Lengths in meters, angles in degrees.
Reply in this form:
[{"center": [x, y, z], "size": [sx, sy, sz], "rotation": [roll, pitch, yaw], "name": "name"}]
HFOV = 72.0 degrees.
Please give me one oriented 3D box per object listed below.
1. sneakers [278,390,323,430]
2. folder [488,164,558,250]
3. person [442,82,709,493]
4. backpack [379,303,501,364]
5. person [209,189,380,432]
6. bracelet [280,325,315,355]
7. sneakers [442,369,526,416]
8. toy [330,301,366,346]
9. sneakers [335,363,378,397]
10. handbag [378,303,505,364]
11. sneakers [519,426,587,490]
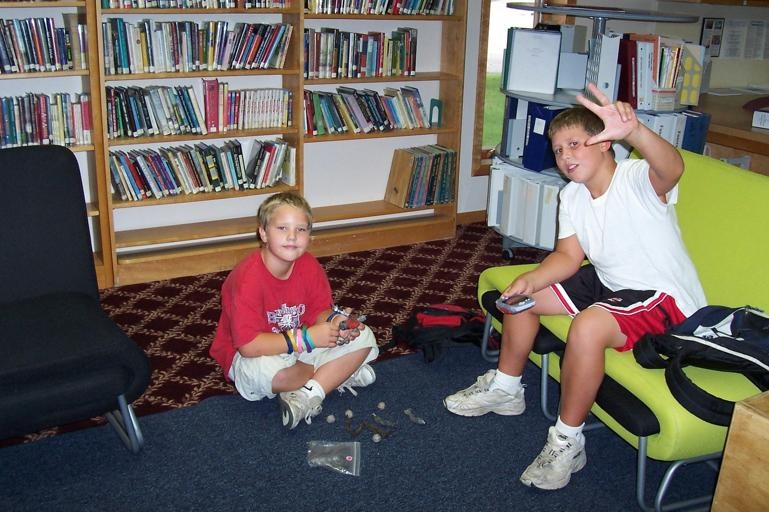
[{"center": [-0.380, 0.699, 2.409], "size": [0.212, 0.117, 0.104], "rotation": [-8, 9, -41], "name": "sneakers"}, {"center": [1.028, -0.377, 3.887], "size": [0.367, 0.504, 0.596], "rotation": [-1, 20, -28], "name": "folder"}, {"center": [0.729, 0.084, 2.269], "size": [1.176, 1.386, 0.961], "rotation": [-18, 18, -40], "name": "person"}, {"center": [0.314, 0.409, 2.984], "size": [0.416, 0.143, 0.322], "rotation": [9, 18, 36], "name": "backpack"}, {"center": [-0.431, 0.228, 2.496], "size": [0.865, 0.879, 0.774], "rotation": [22, 23, 33], "name": "person"}, {"center": [-0.386, 0.377, 2.347], "size": [0.143, 0.102, 0.089], "rotation": [-2, 5, -8], "name": "bracelet"}, {"center": [0.455, 0.629, 2.526], "size": [0.461, 0.194, 0.162], "rotation": [1, 35, 4], "name": "sneakers"}, {"center": [-0.183, 0.318, 2.499], "size": [0.182, 0.163, 0.066], "rotation": [0, -23, 41], "name": "toy"}, {"center": [-0.182, 0.623, 2.652], "size": [0.274, 0.100, 0.087], "rotation": [-9, 7, -13], "name": "sneakers"}, {"center": [0.280, 0.424, 2.991], "size": [0.435, 0.143, 0.311], "rotation": [-5, 16, -12], "name": "handbag"}, {"center": [0.700, 0.816, 2.176], "size": [0.346, 0.186, 0.178], "rotation": [-21, 23, -35], "name": "sneakers"}]
